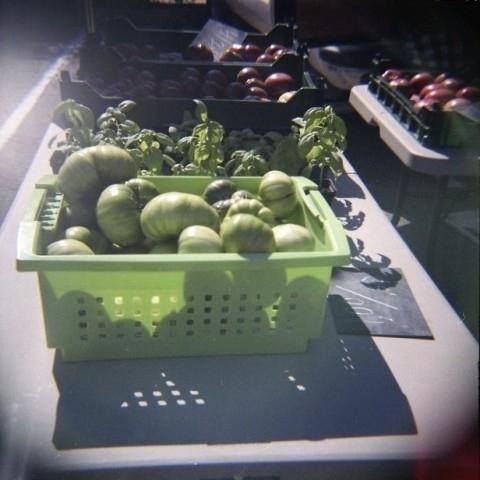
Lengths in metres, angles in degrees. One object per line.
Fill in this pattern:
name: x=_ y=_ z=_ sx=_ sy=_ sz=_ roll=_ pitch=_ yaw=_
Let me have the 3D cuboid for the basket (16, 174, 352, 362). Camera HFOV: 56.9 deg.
basket: x=-0.090 y=0.121 z=0.798 sx=0.423 sy=0.243 sz=0.339 roll=2 pitch=41 yaw=-6

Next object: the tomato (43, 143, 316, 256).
tomato: x=-0.130 y=-0.056 z=0.834 sx=0.351 sy=0.165 sz=0.280 roll=2 pitch=35 yaw=-6
